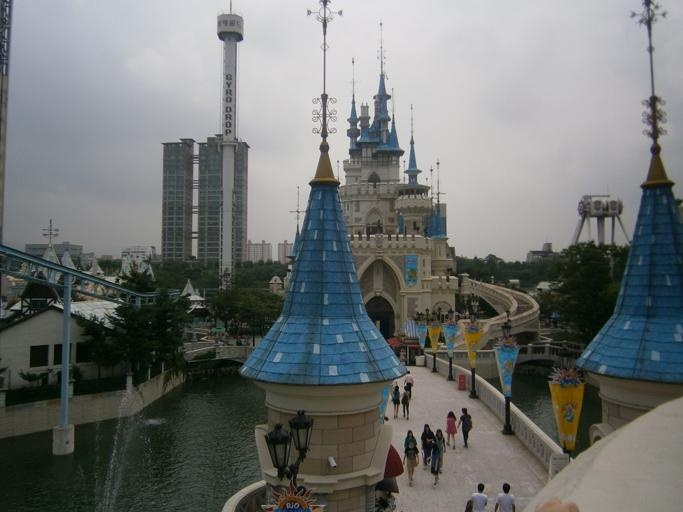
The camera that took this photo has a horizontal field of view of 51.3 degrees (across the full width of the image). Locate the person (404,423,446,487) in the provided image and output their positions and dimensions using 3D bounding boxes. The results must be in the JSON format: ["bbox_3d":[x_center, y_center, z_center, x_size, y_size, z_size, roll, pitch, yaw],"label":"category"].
[{"bbox_3d":[2.797,6.799,23.916,1.365,1.946,0.776,0,-27,-3],"label":"person"}]

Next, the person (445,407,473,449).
[{"bbox_3d":[4.370,6.478,26.479,1.129,1.846,0.624,2,-15,-4],"label":"person"}]

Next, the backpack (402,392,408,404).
[{"bbox_3d":[2.555,5.669,28.564,0.175,0.507,0.190,1,-20,20],"label":"backpack"}]
